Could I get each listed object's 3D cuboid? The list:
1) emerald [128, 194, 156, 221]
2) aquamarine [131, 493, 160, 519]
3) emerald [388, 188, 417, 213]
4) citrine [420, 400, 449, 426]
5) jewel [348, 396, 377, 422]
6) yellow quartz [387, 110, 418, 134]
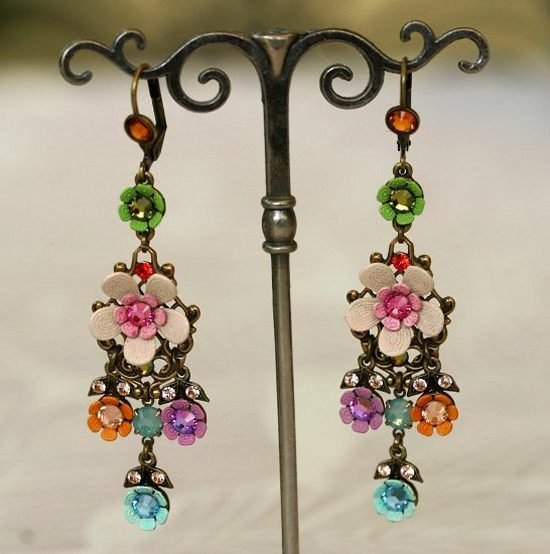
[{"bbox_3d":[-0.197,-0.102,1.656,0.035,0.033,0.016,-2,-14,0],"label":"emerald"},{"bbox_3d":[-0.205,0.362,1.772,0.048,0.041,0.011,-8,7,22],"label":"aquamarine"},{"bbox_3d":[0.187,-0.114,1.655,0.038,0.032,0.018,17,13,4],"label":"emerald"},{"bbox_3d":[0.246,0.210,1.716,0.043,0.035,0.019,-6,5,7],"label":"citrine"},{"bbox_3d":[0.136,0.206,1.741,0.037,0.025,0.037,-1,34,8],"label":"jewel"},{"bbox_3d":[0.183,-0.224,1.610,0.046,0.036,0.028,-3,-14,5],"label":"yellow quartz"}]
